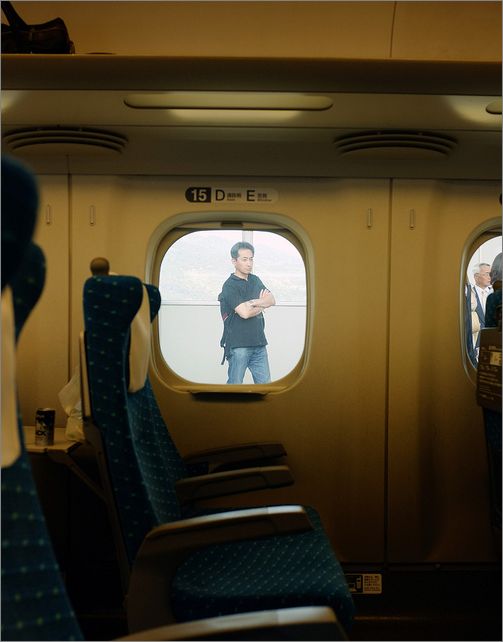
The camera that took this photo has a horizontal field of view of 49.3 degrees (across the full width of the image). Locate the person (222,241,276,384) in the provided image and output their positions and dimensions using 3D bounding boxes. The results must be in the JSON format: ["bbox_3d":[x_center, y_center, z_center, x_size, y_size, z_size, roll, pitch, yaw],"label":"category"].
[{"bbox_3d":[-0.011,0.047,2.684,0.283,0.847,0.253,-4,15,-9],"label":"person"}]

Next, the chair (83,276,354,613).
[{"bbox_3d":[-0.100,0.390,1.742,0.668,0.889,0.923,-1,-5,-2],"label":"chair"}]
